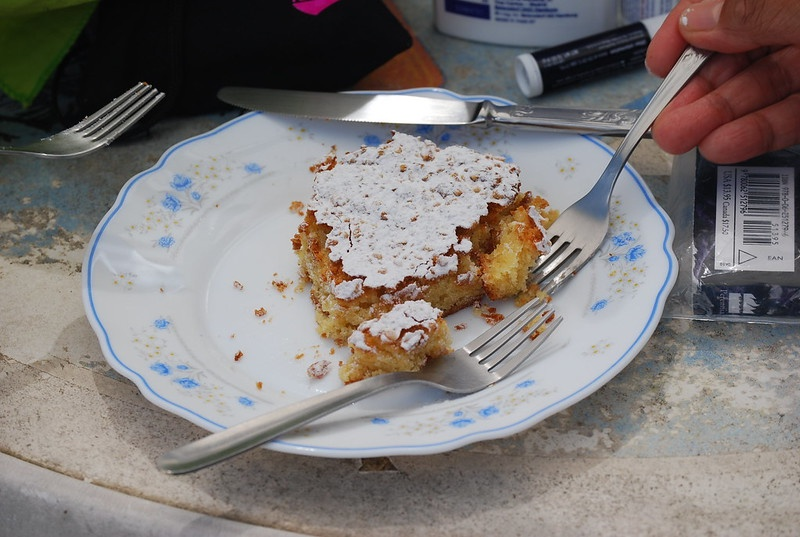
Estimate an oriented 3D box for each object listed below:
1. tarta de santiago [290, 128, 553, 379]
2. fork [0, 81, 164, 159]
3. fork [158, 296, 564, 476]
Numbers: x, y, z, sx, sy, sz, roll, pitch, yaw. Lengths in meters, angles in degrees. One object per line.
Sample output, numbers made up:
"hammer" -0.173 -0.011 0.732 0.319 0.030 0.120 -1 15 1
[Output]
"tarta de santiago" 0.065 0.011 2.274 0.650 0.199 0.515 -33 50 -22
"fork" -0.917 -0.427 2.440 0.463 0.069 0.107 -21 52 -22
"fork" -0.086 0.287 1.954 0.932 0.108 0.123 -17 66 -24
